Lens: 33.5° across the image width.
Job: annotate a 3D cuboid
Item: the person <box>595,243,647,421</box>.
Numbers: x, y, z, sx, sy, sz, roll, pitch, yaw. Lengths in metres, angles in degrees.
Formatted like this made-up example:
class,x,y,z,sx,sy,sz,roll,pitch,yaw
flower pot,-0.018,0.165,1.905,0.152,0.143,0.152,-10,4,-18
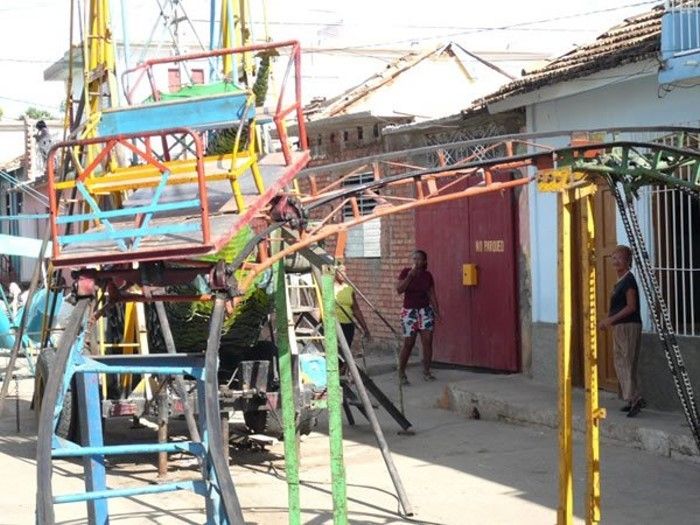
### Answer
class,x,y,z,sx,sy,sz,roll,pitch,yaw
person,3.701,0.936,15.733,0.455,2.331,0.341,-2,-4,27
